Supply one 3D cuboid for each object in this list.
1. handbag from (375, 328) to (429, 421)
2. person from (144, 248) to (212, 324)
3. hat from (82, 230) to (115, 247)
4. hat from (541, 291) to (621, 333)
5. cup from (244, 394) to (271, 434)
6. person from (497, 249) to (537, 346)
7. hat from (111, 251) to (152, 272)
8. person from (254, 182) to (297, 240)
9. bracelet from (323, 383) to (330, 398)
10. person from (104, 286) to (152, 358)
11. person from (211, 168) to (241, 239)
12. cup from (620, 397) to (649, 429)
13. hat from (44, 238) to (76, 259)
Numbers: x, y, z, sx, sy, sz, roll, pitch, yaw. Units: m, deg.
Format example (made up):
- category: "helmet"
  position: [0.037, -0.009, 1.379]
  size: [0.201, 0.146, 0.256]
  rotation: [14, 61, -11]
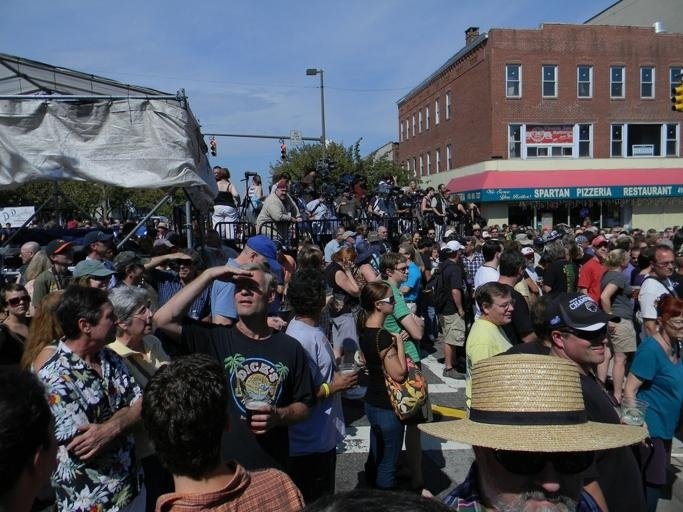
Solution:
- category: "handbag"
  position: [0.648, 1.288, 8.359]
  size: [0.410, 1.036, 0.852]
  rotation: [-18, -4, 15]
- category: "person"
  position: [-1.866, 0.355, 8.879]
  size: [0.636, 1.157, 0.388]
  rotation: [-4, -9, 9]
- category: "hat"
  position: [-3.228, -0.246, 10.288]
  size: [0.276, 0.156, 0.197]
  rotation: [-9, 6, -25]
- category: "hat"
  position: [2.206, 0.485, 7.161]
  size: [0.352, 0.257, 0.479]
  rotation: [-5, 4, -45]
- category: "cup"
  position: [-0.742, 1.403, 6.960]
  size: [0.218, 0.185, 0.201]
  rotation: [0, 4, 0]
- category: "person"
  position: [2.155, 0.449, 9.710]
  size: [0.519, 1.246, 0.353]
  rotation: [8, -27, 0]
- category: "hat"
  position: [-2.529, 0.056, 9.258]
  size: [0.177, 0.236, 0.437]
  rotation: [5, 9, 39]
- category: "person"
  position: [-1.268, -0.866, 15.355]
  size: [0.760, 1.215, 1.211]
  rotation: [0, 7, 2]
- category: "bracelet"
  position: [-0.136, 1.334, 7.710]
  size: [0.049, 0.111, 0.096]
  rotation: [-6, 10, -18]
- category: "person"
  position: [-2.094, 0.631, 7.740]
  size: [0.416, 0.751, 0.440]
  rotation: [-13, 15, -25]
- category: "person"
  position: [-2.313, -0.923, 15.764]
  size: [0.522, 1.800, 0.549]
  rotation: [-7, -14, 10]
- category: "cup"
  position: [2.804, 1.463, 7.311]
  size: [0.238, 0.293, 0.278]
  rotation: [1, -2, -4]
- category: "hat"
  position: [-3.641, -0.093, 10.010]
  size: [0.320, 0.194, 0.235]
  rotation: [-11, -1, 20]
